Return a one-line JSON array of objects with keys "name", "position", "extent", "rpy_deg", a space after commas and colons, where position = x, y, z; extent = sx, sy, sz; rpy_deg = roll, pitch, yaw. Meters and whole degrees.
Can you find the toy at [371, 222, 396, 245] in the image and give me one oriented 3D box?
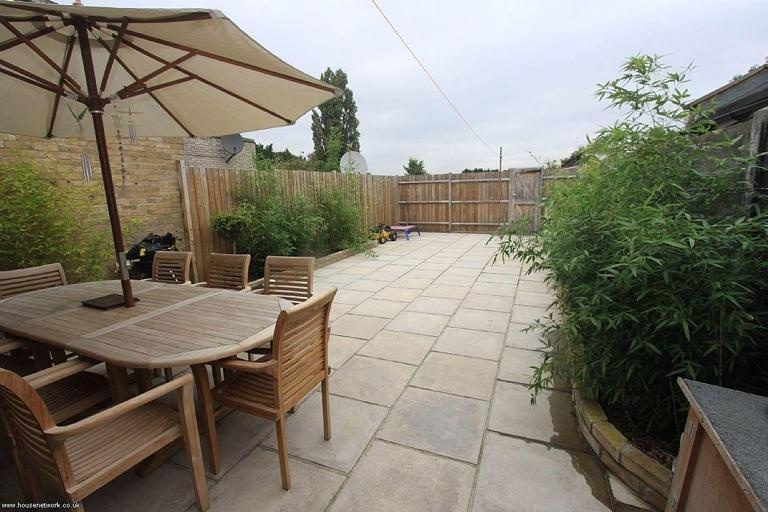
[{"name": "toy", "position": [-0.003, -0.543, 11.312], "extent": [0.449, 0.306, 0.660], "rpy_deg": [-1, -1, 21]}]
